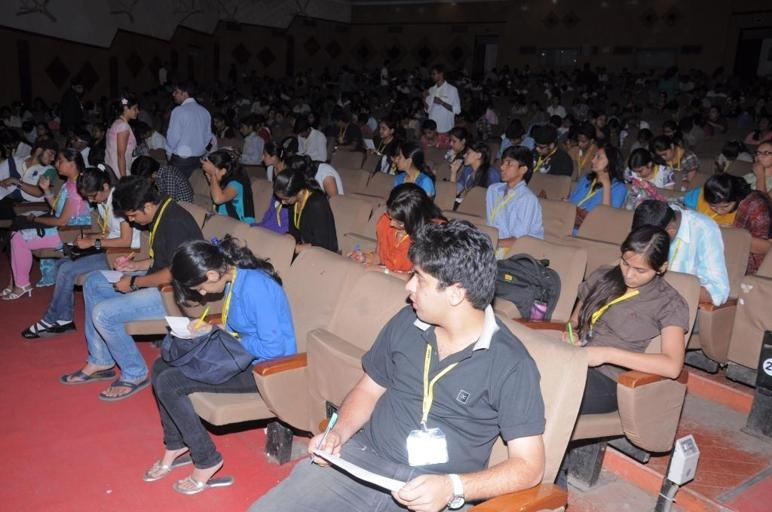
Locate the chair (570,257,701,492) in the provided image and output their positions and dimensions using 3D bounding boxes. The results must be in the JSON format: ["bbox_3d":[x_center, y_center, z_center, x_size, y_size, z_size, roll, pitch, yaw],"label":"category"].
[{"bbox_3d":[1.289,0.483,2.619,0.608,1.058,0.747,10,18,33],"label":"chair"}]

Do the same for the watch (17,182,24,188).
[{"bbox_3d":[-4.185,-0.811,5.477,0.073,0.025,0.023,12,53,17],"label":"watch"}]

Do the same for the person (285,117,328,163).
[{"bbox_3d":[-1.259,-1.776,7.699,0.477,0.874,0.540,-29,40,-34],"label":"person"}]

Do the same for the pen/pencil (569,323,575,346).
[{"bbox_3d":[1.039,0.438,2.662,0.028,0.024,0.166,12,23,8],"label":"pen/pencil"}]

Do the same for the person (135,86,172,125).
[{"bbox_3d":[-7.597,-5.051,15.744,1.128,1.544,1.119,-3,20,-29],"label":"person"}]

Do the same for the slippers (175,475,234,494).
[{"bbox_3d":[-1.035,1.298,2.732,0.267,0.046,0.118,0,14,-25],"label":"slippers"}]

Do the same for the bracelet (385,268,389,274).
[{"bbox_3d":[0.009,0.092,2.857,0.025,0.006,0.024,4,35,-32],"label":"bracelet"}]

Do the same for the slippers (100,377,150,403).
[{"bbox_3d":[-1.897,0.962,3.460,0.272,0.076,0.123,-12,18,-43],"label":"slippers"}]

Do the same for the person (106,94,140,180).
[{"bbox_3d":[-3.687,-1.374,6.621,0.350,1.652,0.637,-9,45,-38],"label":"person"}]

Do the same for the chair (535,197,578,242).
[{"bbox_3d":[1.537,-0.325,4.261,0.322,0.446,0.392,1,1,7],"label":"chair"}]

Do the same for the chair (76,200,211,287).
[{"bbox_3d":[-2.083,-0.004,4.137,1.154,0.913,0.761,-4,18,-31],"label":"chair"}]

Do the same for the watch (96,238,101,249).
[{"bbox_3d":[-2.591,-0.105,4.308,0.061,0.088,0.034,0,14,2],"label":"watch"}]

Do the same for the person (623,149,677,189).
[{"bbox_3d":[2.594,-0.843,4.682,0.407,0.395,1.162,10,16,31],"label":"person"}]

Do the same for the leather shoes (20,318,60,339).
[{"bbox_3d":[-2.967,0.627,4.103,0.274,0.108,0.144,4,-1,-39],"label":"leather shoes"}]

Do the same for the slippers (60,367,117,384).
[{"bbox_3d":[-2.237,0.899,3.606,0.351,0.086,0.140,1,4,-26],"label":"slippers"}]

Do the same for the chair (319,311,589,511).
[{"bbox_3d":[0.398,0.584,1.982,0.612,0.552,0.546,10,-3,-45],"label":"chair"}]

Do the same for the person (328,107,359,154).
[{"bbox_3d":[-0.737,-2.456,9.327,0.559,0.740,1.516,-1,14,-5],"label":"person"}]

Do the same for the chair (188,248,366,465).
[{"bbox_3d":[-0.654,0.500,3.265,1.278,1.453,1.019,-4,11,-32],"label":"chair"}]

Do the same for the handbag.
[{"bbox_3d":[-1.006,0.538,2.670,0.400,0.176,0.299,9,15,19],"label":"handbag"}]

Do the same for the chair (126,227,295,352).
[{"bbox_3d":[-1.279,0.107,3.559,1.148,0.869,0.787,-6,14,-29],"label":"chair"}]

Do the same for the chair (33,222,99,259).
[{"bbox_3d":[-3.190,-0.167,4.800,0.505,0.423,0.381,-1,8,-26],"label":"chair"}]
